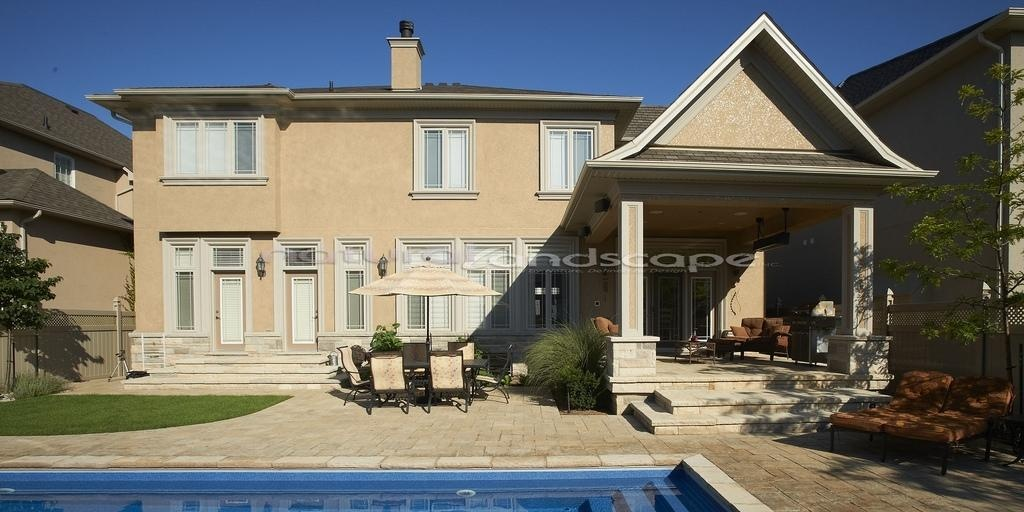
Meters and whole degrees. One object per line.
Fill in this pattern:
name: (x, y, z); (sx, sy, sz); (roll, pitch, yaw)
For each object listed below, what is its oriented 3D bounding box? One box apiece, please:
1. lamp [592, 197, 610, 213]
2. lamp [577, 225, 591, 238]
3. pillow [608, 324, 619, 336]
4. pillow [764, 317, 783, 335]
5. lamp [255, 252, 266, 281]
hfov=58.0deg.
lamp: (3.938, -2.262, 40.376); (0.424, 0.676, 0.951); (4, -8, -19)
lamp: (3.334, -1.151, 43.014); (0.583, 0.868, 0.570); (0, -5, 13)
pillow: (4.471, 3.241, 40.590); (0.538, 0.338, 0.459); (0, -7, 3)
pillow: (12.138, 3.254, 42.844); (0.872, 0.691, 0.851); (0, -7, 15)
lamp: (-11.872, 0.459, 43.547); (0.480, 1.222, 0.343); (3, -8, -14)
